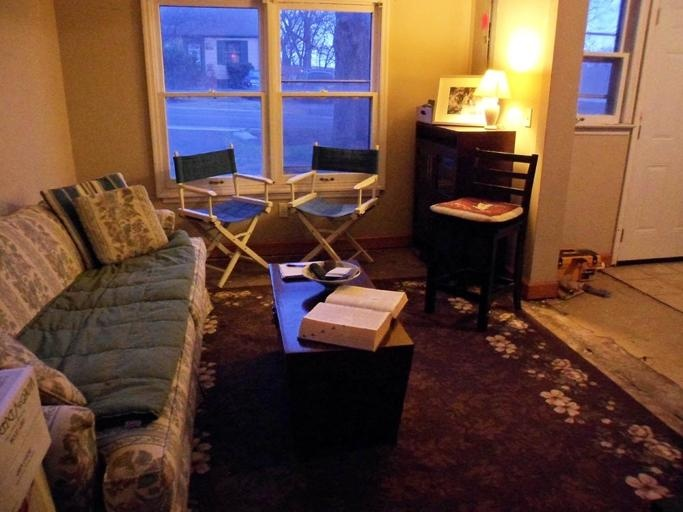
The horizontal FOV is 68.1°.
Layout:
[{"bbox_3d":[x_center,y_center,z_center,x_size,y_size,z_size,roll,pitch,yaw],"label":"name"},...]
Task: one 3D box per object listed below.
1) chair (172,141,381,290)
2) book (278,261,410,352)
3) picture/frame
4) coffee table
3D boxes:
[{"bbox_3d":[-0.597,-0.360,4.103,1.253,0.742,0.532,-4,25,-12],"label":"chair"},{"bbox_3d":[0.013,0.267,2.316,0.336,0.092,0.485,4,17,11],"label":"book"},{"bbox_3d":[1.010,-1.244,4.096,0.520,0.364,0.034,9,1,34],"label":"picture/frame"},{"bbox_3d":[-0.023,0.625,2.544,0.633,0.522,1.104,-3,29,-7],"label":"coffee table"}]
